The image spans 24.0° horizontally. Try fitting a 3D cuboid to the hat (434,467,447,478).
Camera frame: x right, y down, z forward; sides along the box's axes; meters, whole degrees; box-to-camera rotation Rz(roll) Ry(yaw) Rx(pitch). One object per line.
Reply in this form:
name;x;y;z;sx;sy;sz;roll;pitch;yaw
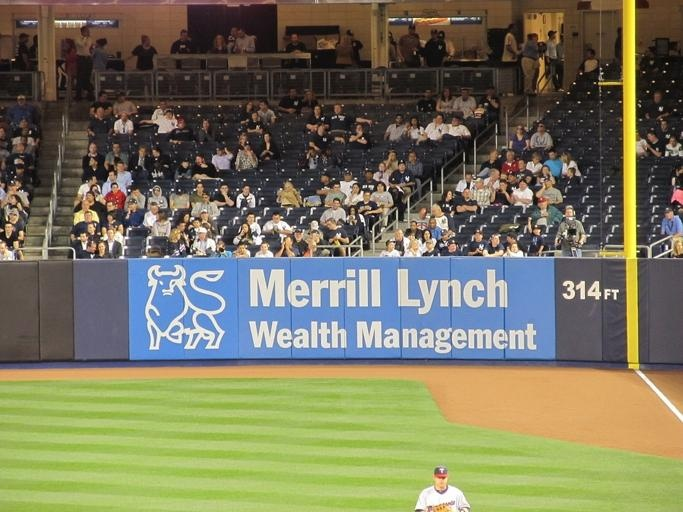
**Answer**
hat;1.694;3.704;27.377;0.205;0.160;0.343;2;-7;2
